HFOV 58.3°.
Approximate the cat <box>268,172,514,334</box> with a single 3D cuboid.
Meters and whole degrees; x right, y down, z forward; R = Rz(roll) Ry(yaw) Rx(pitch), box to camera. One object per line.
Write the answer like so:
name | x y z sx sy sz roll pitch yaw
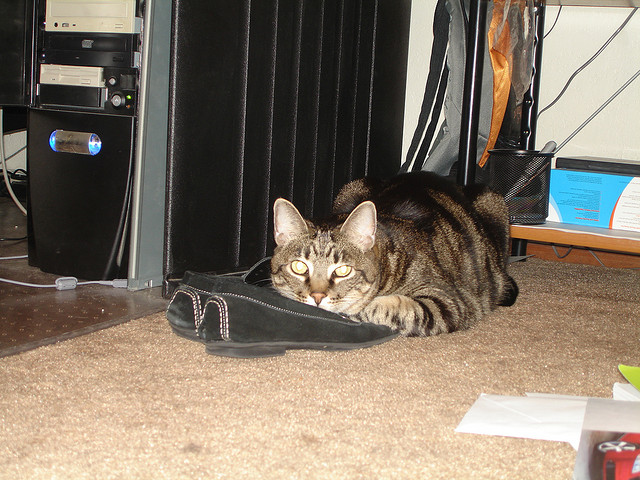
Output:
cat | 0.243 0.037 1.682 0.454 0.364 0.992 11 15 37
